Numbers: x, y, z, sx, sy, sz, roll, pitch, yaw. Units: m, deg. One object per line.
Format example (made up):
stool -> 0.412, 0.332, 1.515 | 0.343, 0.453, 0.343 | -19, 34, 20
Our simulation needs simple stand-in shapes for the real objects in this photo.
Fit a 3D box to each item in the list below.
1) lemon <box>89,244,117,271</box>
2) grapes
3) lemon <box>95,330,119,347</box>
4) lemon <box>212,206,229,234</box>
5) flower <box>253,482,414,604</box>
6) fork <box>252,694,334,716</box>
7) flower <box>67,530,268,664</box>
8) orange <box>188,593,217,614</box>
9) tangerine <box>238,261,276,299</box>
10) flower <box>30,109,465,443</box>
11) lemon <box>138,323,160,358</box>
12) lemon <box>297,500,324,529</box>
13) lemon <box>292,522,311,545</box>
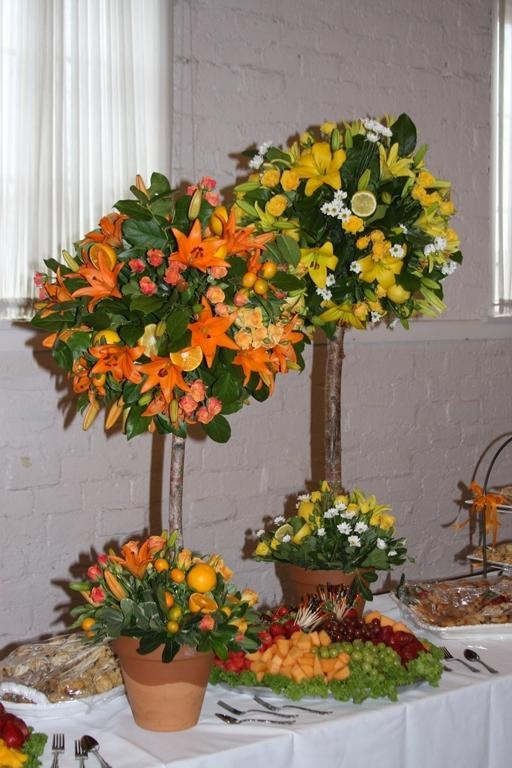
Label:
lemon -> -0.201, -0.171, 0.946 | 0.033, 0.031, 0.046 | 4, 10, -21
grapes -> 0.190, 0.444, 1.193 | 0.095, 0.028, 0.082 | -6, 20, -26
lemon -> -0.193, -0.061, 0.921 | 0.024, 0.021, 0.023 | 3, -4, -24
lemon -> -0.049, -0.221, 0.956 | 0.025, 0.037, 0.023 | 2, 12, -42
flower -> 0.160, 0.364, 1.509 | 0.319, 0.262, 0.303 | 0, -9, -14
fork -> 0.060, 0.496, 1.102 | 0.141, 0.018, 0.018 | 3, 18, 18
flower -> -0.131, 0.329, 1.079 | 0.315, 0.146, 0.291 | 6, -5, 14
orange -> -0.075, 0.301, 0.980 | 0.030, 0.020, 0.036 | 33, 13, 34
tangerine -> 0.005, -0.147, 0.988 | 0.053, 0.039, 0.028 | -48, 2, -30
flower -> -0.018, -0.224, 1.195 | 0.444, 0.560, 0.737 | 15, 12, 38
lemon -> -0.137, -0.056, 0.907 | 0.024, 0.042, 0.017 | 2, 12, -33
lemon -> 0.112, 0.274, 1.485 | 0.036, 0.053, 0.040 | -23, -5, -41
lemon -> 0.093, 0.300, 1.432 | 0.023, 0.036, 0.030 | 30, 10, 16
